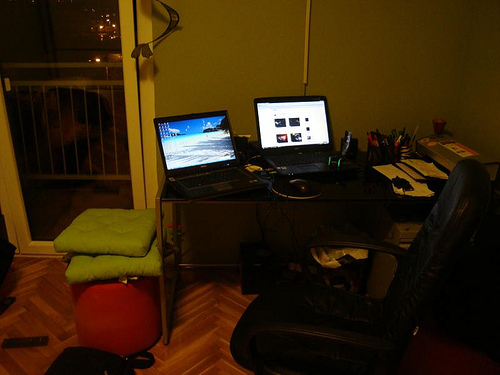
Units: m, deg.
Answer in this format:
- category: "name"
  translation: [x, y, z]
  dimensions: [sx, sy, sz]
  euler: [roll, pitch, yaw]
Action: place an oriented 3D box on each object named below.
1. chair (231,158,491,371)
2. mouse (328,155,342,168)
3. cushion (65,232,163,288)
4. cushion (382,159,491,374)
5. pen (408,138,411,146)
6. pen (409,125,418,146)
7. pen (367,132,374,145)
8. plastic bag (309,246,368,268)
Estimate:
- category: "chair"
  translation: [0.581, 0.386, 2.059]
  dimensions: [0.859, 1.088, 0.749]
  euler: [6, 23, 13]
- category: "mouse"
  translation: [0.526, -0.162, 2.506]
  dimensions: [0.051, 0.035, 0.094]
  euler: [1, 26, 9]
- category: "cushion"
  translation: [-0.734, 0.433, 2.247]
  dimensions: [0.507, 0.165, 0.208]
  euler: [-6, 22, -9]
- category: "cushion"
  translation: [0.681, 0.288, 1.610]
  dimensions: [0.465, 0.745, 0.325]
  euler: [-10, 22, -19]
- category: "pen"
  translation: [1.041, -0.300, 2.635]
  dimensions: [0.011, 0.015, 0.048]
  euler: [-10, 49, 57]
- category: "pen"
  translation: [1.118, -0.367, 2.775]
  dimensions: [0.013, 0.031, 0.190]
  euler: [23, 61, 20]
- category: "pen"
  translation: [0.773, -0.313, 2.616]
  dimensions: [0.027, 0.103, 0.022]
  euler: [-15, -4, -1]
- category: "plastic bag"
  translation: [0.579, 0.437, 2.652]
  dimensions: [0.313, 0.162, 0.237]
  euler: [-1, -2, 6]
